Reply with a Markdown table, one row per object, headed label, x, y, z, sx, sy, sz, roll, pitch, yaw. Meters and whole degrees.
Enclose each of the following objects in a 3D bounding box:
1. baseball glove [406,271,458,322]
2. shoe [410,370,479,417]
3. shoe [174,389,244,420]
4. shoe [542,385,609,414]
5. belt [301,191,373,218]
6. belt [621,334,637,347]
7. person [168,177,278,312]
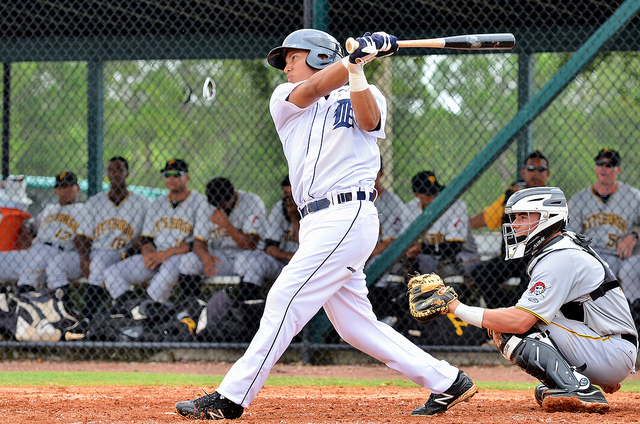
| label | x | y | z | sx | sy | sz | roll | pitch | yaw |
| --- | --- | --- | --- | --- | --- | --- | --- | --- | --- |
| baseball glove | 0.803 | 0.632 | 6.379 | 0.278 | 0.389 | 0.187 | -27 | -33 | -5 |
| shoe | 0.917 | 1.342 | 6.376 | 0.362 | 0.186 | 0.124 | -35 | 8 | 6 |
| shoe | -0.784 | 1.356 | 6.193 | 0.520 | 0.277 | 0.194 | 5 | -7 | 1 |
| shoe | 1.863 | 1.377 | 6.285 | 0.337 | 0.172 | 0.208 | 0 | -5 | -3 |
| belt | 0.123 | -0.049 | 6.240 | 0.518 | 0.181 | 0.141 | 0 | 2 | -3 |
| belt | 2.293 | 0.949 | 6.436 | 0.089 | 0.094 | 0.072 | 20 | -1 | 4 |
| person | -0.957 | 0.362 | 8.541 | 1.026 | 1.382 | 1.056 | 1 | -1 | 40 |
